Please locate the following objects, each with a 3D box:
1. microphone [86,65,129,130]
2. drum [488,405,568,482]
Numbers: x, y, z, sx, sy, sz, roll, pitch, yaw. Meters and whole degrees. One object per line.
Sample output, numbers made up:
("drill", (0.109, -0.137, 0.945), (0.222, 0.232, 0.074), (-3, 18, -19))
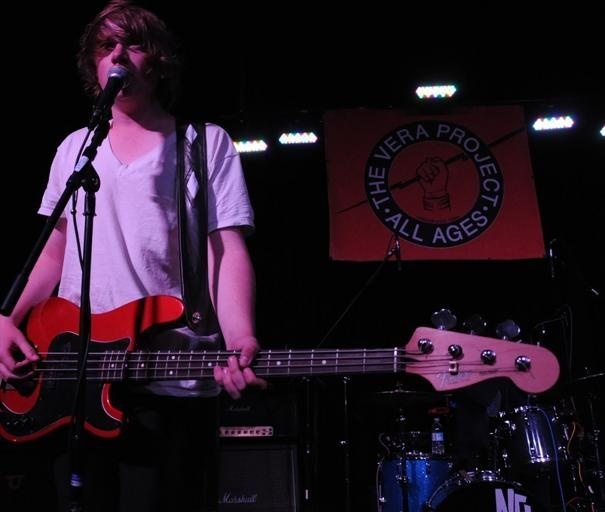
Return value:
("microphone", (-0.856, -0.683, 2.875), (0.092, 0.396, 0.093), (6, -29, 13))
("drum", (1.526, 1.289, 4.602), (0.447, 0.465, 0.471), (-25, -41, 28))
